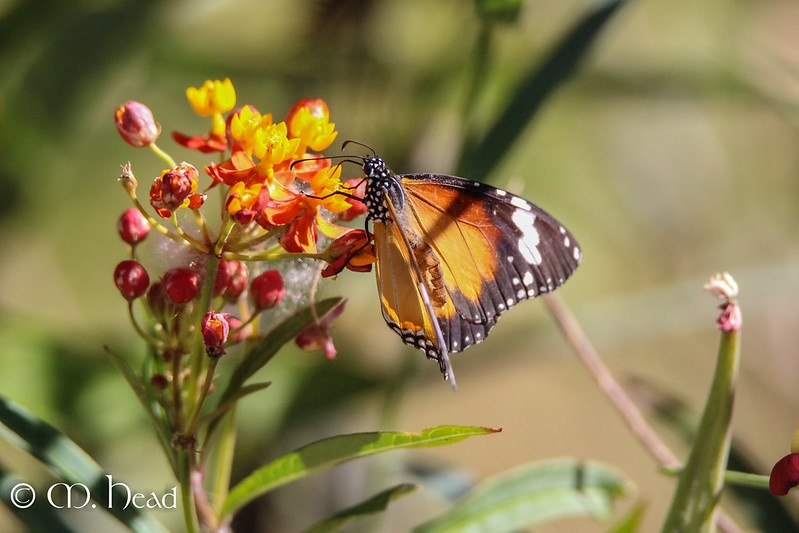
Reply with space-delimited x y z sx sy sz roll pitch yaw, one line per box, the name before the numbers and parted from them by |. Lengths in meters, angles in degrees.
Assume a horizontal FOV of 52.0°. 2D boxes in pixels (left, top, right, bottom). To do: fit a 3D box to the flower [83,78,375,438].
flower | -0.334 0.021 1.803 0.609 0.595 0.653 22 -44 -4
